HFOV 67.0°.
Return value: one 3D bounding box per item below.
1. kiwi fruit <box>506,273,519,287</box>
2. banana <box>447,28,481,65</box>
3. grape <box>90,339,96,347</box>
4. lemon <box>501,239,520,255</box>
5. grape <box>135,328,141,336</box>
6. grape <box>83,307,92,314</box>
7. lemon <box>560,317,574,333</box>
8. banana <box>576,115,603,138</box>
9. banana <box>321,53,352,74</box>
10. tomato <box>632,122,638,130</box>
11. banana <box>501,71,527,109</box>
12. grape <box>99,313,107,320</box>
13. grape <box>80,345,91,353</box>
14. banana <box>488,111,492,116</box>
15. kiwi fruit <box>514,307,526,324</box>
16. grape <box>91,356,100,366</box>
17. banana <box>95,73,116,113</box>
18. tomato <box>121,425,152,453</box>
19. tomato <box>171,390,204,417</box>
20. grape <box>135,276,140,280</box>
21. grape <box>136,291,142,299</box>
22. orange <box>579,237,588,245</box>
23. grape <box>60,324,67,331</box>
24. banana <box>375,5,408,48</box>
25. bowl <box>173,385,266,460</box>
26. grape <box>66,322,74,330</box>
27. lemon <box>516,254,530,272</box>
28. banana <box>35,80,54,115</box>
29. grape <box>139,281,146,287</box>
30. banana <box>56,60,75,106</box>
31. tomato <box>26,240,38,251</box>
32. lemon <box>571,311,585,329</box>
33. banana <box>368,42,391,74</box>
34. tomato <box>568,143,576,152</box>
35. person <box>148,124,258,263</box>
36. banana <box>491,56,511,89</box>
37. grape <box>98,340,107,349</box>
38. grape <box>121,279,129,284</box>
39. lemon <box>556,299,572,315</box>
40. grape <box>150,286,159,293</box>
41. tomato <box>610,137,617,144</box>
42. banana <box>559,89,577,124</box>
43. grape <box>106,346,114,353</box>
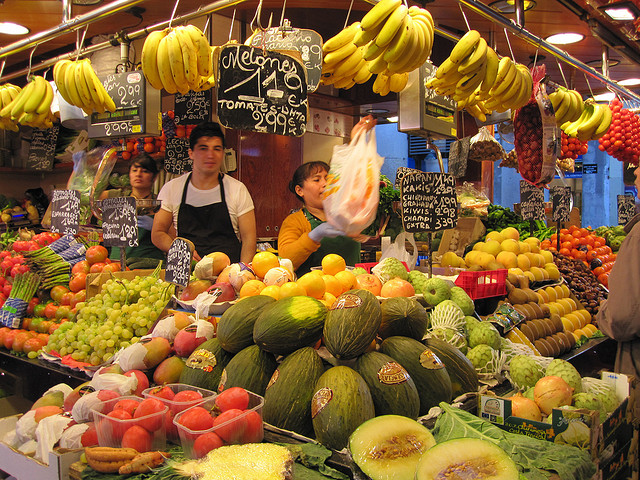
[{"bbox_3d":[1.370,0.278,3.404,0.075,0.102,0.056,-12,21,18],"label":"kiwi fruit"},{"bbox_3d":[1.019,-1.427,3.499,0.372,0.175,0.122,-42,27,-31],"label":"banana"},{"bbox_3d":[-1.306,0.589,2.754,0.038,0.034,0.034,17,15,8],"label":"grape"},{"bbox_3d":[1.520,0.051,3.858,0.135,0.119,0.122,14,46,1],"label":"lemon"},{"bbox_3d":[-1.068,0.538,2.814,0.035,0.043,0.037,1,52,0],"label":"grape"},{"bbox_3d":[-1.428,0.428,2.945,0.030,0.035,0.035,18,45,27],"label":"grape"},{"bbox_3d":[1.800,0.612,3.515,0.081,0.091,0.111,-4,9,-3],"label":"lemon"},{"bbox_3d":[2.907,-1.232,5.254,0.067,0.175,0.211,27,37,-12],"label":"banana"},{"bbox_3d":[0.133,-1.408,3.818,0.230,0.049,0.081,-28,33,26],"label":"banana"},{"bbox_3d":[3.877,-1.404,5.909,0.089,0.093,0.051,14,-20,-35],"label":"tomato"},{"bbox_3d":[1.650,-1.259,4.062,0.073,0.237,0.191,20,-7,-36],"label":"banana"},{"bbox_3d":[-1.305,0.456,2.886,0.043,0.039,0.038,5,12,24],"label":"grape"},{"bbox_3d":[-1.362,0.629,2.793,0.046,0.041,0.040,13,18,18],"label":"grape"},{"bbox_3d":[2.269,-1.663,6.358,0.024,0.047,0.101,8,12,27],"label":"banana"},{"bbox_3d":[1.285,0.482,3.079,0.076,0.084,0.115,7,12,22],"label":"kiwi fruit"},{"bbox_3d":[-1.280,0.688,2.734,0.037,0.038,0.048,6,-29,-41],"label":"grape"},{"bbox_3d":[-1.733,-1.192,3.923,0.067,0.294,0.097,-4,22,31],"label":"banana"},{"bbox_3d":[-0.690,0.756,1.831,0.095,0.120,0.098,-5,-29,-20],"label":"tomato"},{"bbox_3d":[-0.546,0.658,1.968,0.101,0.108,0.103,-14,-16,35],"label":"tomato"},{"bbox_3d":[-1.135,0.233,2.982,0.021,0.019,0.019,7,33,-6],"label":"grape"},{"bbox_3d":[-1.096,0.337,2.905,0.015,0.028,0.023,-9,10,-32],"label":"grape"},{"bbox_3d":[3.031,0.017,5.513,0.100,0.108,0.123,-10,-11,29],"label":"orange"},{"bbox_3d":[-1.599,0.545,2.989,0.058,0.042,0.013,7,11,21],"label":"grape"},{"bbox_3d":[0.437,-1.309,3.005,0.101,0.350,0.109,26,-1,21],"label":"banana"},{"bbox_3d":[-0.396,0.722,1.888,0.262,0.192,0.359,4,6,39],"label":"bowl"},{"bbox_3d":[-1.553,0.531,2.975,0.030,0.043,0.020,-3,-2,5],"label":"grape"},{"bbox_3d":[1.579,0.181,3.730,0.097,0.080,0.081,48,16,0],"label":"lemon"},{"bbox_3d":[-2.622,-1.347,4.578,0.065,0.275,0.197,5,3,36],"label":"banana"},{"bbox_3d":[-1.071,0.265,2.893,0.026,0.027,0.025,5,-12,-10],"label":"grape"},{"bbox_3d":[-2.134,-1.308,3.977,0.079,0.282,0.210,-4,0,-18],"label":"banana"},{"bbox_3d":[-2.517,0.034,4.187,0.075,0.081,0.079,30,41,35],"label":"tomato"},{"bbox_3d":[1.981,0.616,3.696,0.058,0.110,0.107,4,12,19],"label":"lemon"},{"bbox_3d":[0.419,-1.247,3.341,0.058,0.219,0.078,33,36,2],"label":"banana"},{"bbox_3d":[3.006,-1.107,5.761,0.082,0.086,0.099,-10,17,-18],"label":"tomato"},{"bbox_3d":[-1.063,-0.434,4.414,0.930,1.229,0.377,1,11,-9],"label":"person"},{"bbox_3d":[1.454,-1.363,3.849,0.074,0.285,0.089,13,-3,-33],"label":"banana"},{"bbox_3d":[-1.239,0.593,2.736,0.035,0.050,0.037,-8,-35,35],"label":"grape"},{"bbox_3d":[-1.208,0.256,2.971,0.036,0.032,0.031,5,6,-4],"label":"grape"},{"bbox_3d":[1.887,0.504,3.685,0.099,0.057,0.103,0,12,19],"label":"lemon"},{"bbox_3d":[-0.993,0.298,2.891,0.044,0.035,0.028,-3,12,-27],"label":"grape"},{"bbox_3d":[3.628,-1.224,5.932,0.059,0.074,0.061,-1,11,-18],"label":"tomato"},{"bbox_3d":[2.436,-1.258,4.656,0.076,0.241,0.216,11,-34,14],"label":"banana"},{"bbox_3d":[-1.203,0.629,2.752,0.033,0.036,0.035,-2,5,13],"label":"grape"}]
